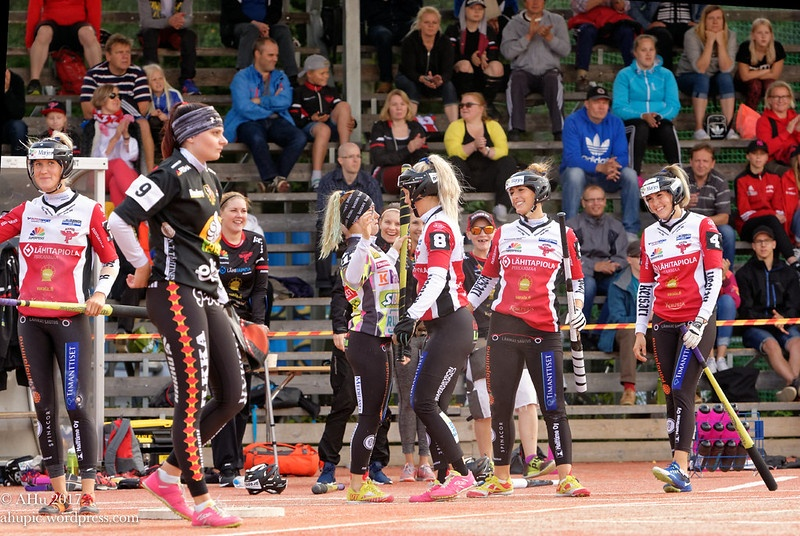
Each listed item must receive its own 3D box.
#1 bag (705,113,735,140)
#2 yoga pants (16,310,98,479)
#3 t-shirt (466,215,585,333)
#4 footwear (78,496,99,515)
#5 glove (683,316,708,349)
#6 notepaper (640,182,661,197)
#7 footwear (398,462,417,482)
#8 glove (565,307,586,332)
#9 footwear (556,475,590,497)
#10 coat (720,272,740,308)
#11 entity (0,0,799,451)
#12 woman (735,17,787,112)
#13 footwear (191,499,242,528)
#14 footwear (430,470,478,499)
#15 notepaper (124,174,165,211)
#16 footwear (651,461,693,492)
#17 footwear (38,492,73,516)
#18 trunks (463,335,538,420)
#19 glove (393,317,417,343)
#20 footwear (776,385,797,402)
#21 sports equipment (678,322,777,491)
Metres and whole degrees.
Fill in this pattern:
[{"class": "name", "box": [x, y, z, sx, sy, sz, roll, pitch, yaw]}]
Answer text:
[{"class": "bag", "box": [4.822, -2.103, 25.348, 0.350, 0.430, 0.432, 2, 2, -8]}, {"class": "yoga pants", "box": [-3.686, 1.371, 18.136, 0.726, 2.219, 0.535, 2, 9, 11]}, {"class": "t-shirt", "box": [1.504, 0.041, 18.787, 1.580, 1.159, 0.574, 5, 9, 24]}, {"class": "footwear", "box": [-3.263, 2.483, 17.542, 0.178, 0.188, 0.173, -2, 1, -13]}, {"class": "glove", "box": [3.323, 0.717, 18.855, 0.236, 0.369, 0.118, 19, 10, 11]}, {"class": "notepaper", "box": [2.893, -0.904, 19.306, 0.208, 0.147, 0.149, 4, -5, -1]}, {"class": "footwear", "box": [0.106, 2.550, 20.823, 0.218, 0.205, 0.504, -2, -13, 7]}, {"class": "glove", "box": [1.979, 0.585, 18.778, 0.217, 0.249, 0.091, 0, -35, 3]}, {"class": "footwear", "box": [1.890, 2.425, 18.486, 0.396, 0.199, 0.185, -7, -12, 43]}, {"class": "coat", "box": [4.608, 0.310, 23.213, 0.204, 0.484, 0.398, -6, 3, -36]}, {"class": "entity", "box": [0.046, -0.420, 21.668, 7.449, 3.703, 2.159, -1, 6, 0]}, {"class": "woman", "box": [5.537, -2.958, 25.790, 0.808, 1.614, 1.027, -1, 14, -3]}, {"class": "footwear", "box": [-1.772, 2.510, 16.905, 0.633, 0.252, 0.203, -1, -7, 10]}, {"class": "footwear", "box": [0.577, 2.369, 18.270, 0.577, 0.227, 0.202, -25, 8, -3]}, {"class": "notepaper", "box": [-2.602, -0.760, 16.979, 0.049, 0.341, 0.505, 28, -20, -26]}, {"class": "footwear", "box": [3.042, 2.348, 18.886, 0.528, 0.256, 0.217, 29, -6, -28]}, {"class": "footwear", "box": [-3.603, 2.494, 17.667, 0.329, 0.198, 0.454, -2, 1, 4]}, {"class": "trunks", "box": [1.176, 1.254, 19.086, 0.644, 1.000, 0.806, 10, -27, -33]}, {"class": "glove", "box": [0.041, 0.667, 17.832, 0.225, 0.276, 0.138, 2, -19, 38]}, {"class": "footwear", "box": [5.281, 1.728, 22.901, 0.159, 0.152, 0.378, -2, 1, -29]}, {"class": "sports equipment", "box": [4.082, 1.772, 20.935, 0.261, 2.239, 0.253, -33, -6, 8]}]
